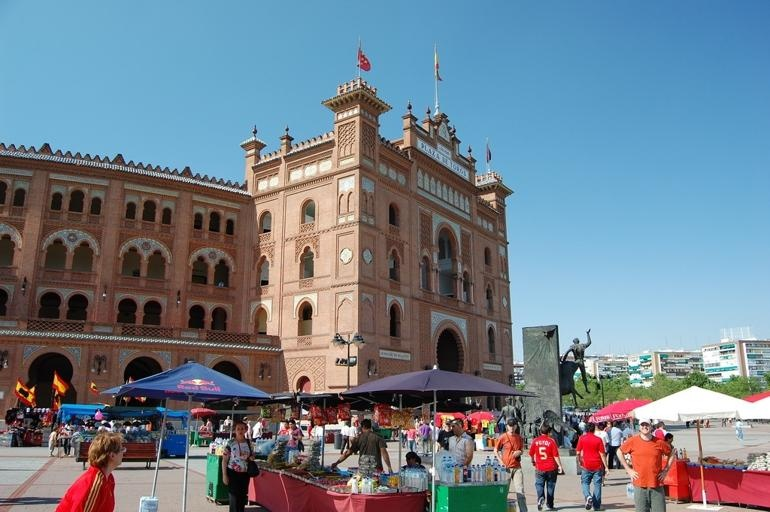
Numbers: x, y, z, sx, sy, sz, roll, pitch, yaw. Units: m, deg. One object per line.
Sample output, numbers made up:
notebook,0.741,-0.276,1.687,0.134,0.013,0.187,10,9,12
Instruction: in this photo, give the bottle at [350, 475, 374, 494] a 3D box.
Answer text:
bottle,-0.552,5.451,14.290,0.589,0.385,0.368,-3,-19,3

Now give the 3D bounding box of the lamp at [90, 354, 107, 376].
lamp,-17.580,6.696,36.394,1.209,1.767,0.394,5,-10,-29

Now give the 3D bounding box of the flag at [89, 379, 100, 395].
flag,-17.408,7.812,35.677,0.568,0.889,0.906,7,-21,-24

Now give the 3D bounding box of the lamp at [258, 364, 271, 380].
lamp,-8.286,7.956,40.640,0.966,0.910,0.284,12,-27,-41

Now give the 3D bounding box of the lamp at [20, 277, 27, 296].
lamp,-23.796,1.916,39.230,0.376,1.165,0.218,7,-20,-22

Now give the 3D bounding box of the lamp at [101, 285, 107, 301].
lamp,-19.196,2.464,40.788,0.394,0.995,0.129,8,-21,-24

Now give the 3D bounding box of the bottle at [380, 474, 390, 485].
bottle,0.021,5.460,14.581,0.243,0.242,0.236,-5,-19,10

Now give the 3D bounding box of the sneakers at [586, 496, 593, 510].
sneakers,5.648,6.810,16.434,0.157,0.361,0.157,3,15,5

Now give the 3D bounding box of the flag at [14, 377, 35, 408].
flag,-20.304,7.581,33.555,1.051,1.590,3.060,10,-22,-30

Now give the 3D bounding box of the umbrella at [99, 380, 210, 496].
umbrella,-6.448,5.293,17.225,2.495,3.703,5.107,6,-20,-21
